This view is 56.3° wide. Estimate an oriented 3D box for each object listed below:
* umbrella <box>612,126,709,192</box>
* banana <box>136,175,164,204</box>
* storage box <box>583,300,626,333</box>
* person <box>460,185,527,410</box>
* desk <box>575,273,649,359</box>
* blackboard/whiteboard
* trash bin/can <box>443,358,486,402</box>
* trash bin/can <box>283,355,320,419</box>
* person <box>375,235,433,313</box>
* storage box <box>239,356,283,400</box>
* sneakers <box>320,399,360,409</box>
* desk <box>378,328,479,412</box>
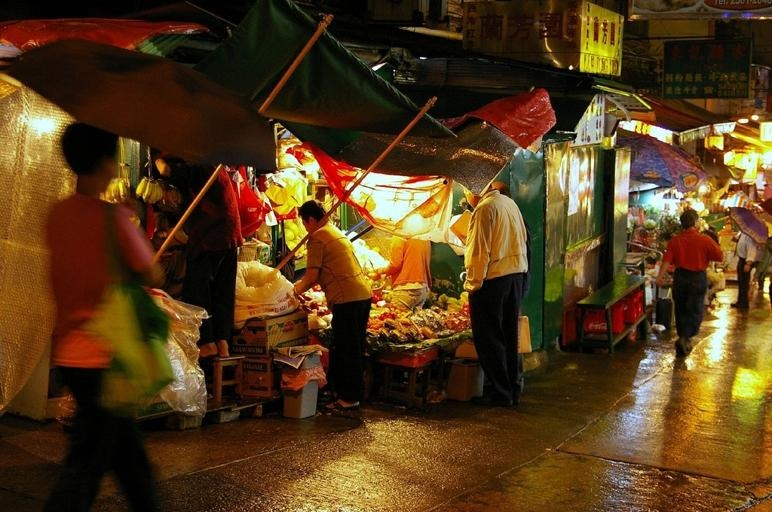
[{"bbox_3d":[6.860,-2.439,18.113,0.778,1.582,2.228,-7,9,-42],"label":"umbrella"},{"bbox_3d":[-2.567,-0.723,7.833,0.197,0.223,0.312,-9,0,-13],"label":"banana"},{"bbox_3d":[3.807,1.032,12.863,0.846,0.584,0.489,5,18,25],"label":"storage box"},{"bbox_3d":[1.437,0.555,9.295,0.901,2.750,0.433,-6,8,-36],"label":"person"},{"bbox_3d":[4.344,1.079,13.516,0.756,0.949,2.548,-1,9,36],"label":"desk"},{"bbox_3d":[8.983,-5.229,20.103,1.825,1.274,0.264,0,4,8],"label":"blackboard/whiteboard"},{"bbox_3d":[1.028,1.643,9.534,0.435,0.561,0.759,2,-3,12],"label":"trash bin/can"},{"bbox_3d":[-0.969,1.542,8.547,0.539,0.732,0.252,-4,7,-25],"label":"trash bin/can"},{"bbox_3d":[0.359,0.411,10.868,0.845,1.302,1.003,-6,-20,18],"label":"person"},{"bbox_3d":[-1.484,1.426,8.654,0.548,0.447,0.493,0,-2,4],"label":"storage box"},{"bbox_3d":[-0.578,1.841,8.915,0.451,0.146,0.167,5,1,3],"label":"sneakers"},{"bbox_3d":[0.539,1.407,9.761,0.528,0.778,1.619,0,3,31],"label":"desk"}]
